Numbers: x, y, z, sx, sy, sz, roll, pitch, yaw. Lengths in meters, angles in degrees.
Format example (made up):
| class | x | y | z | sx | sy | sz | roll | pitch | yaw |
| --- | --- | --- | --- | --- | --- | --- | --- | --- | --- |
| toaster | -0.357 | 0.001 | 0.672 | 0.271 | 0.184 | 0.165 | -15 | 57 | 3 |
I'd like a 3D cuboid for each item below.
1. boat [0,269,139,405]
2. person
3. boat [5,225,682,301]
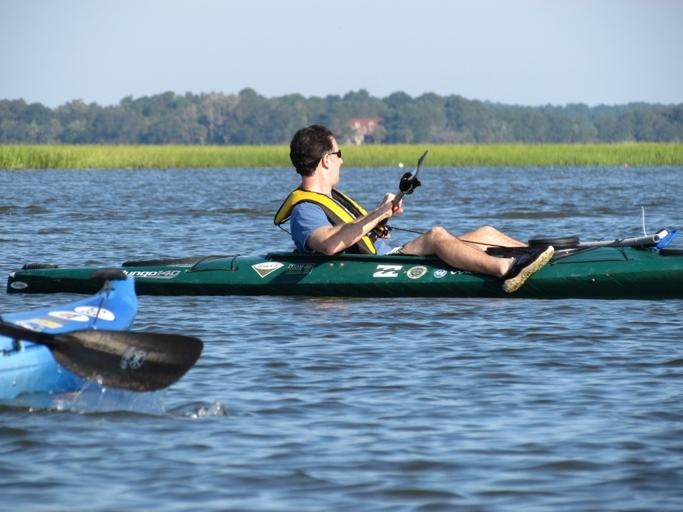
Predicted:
| class | x | y | z | sx | sy | sz | roll | pitch | yaw |
| --- | --- | --- | --- | --- | --- | --- | --- | --- | --- |
| boat | -1.661 | 0.521 | 7.317 | 0.447 | 0.287 | 1.307 | 13 | 14 | 22 |
| person | 0.662 | -0.384 | 9.900 | 2.352 | 0.997 | 1.054 | 10 | 24 | -4 |
| boat | -0.029 | 0.087 | 10.595 | 4.689 | 0.471 | 0.879 | -1 | -2 | 18 |
